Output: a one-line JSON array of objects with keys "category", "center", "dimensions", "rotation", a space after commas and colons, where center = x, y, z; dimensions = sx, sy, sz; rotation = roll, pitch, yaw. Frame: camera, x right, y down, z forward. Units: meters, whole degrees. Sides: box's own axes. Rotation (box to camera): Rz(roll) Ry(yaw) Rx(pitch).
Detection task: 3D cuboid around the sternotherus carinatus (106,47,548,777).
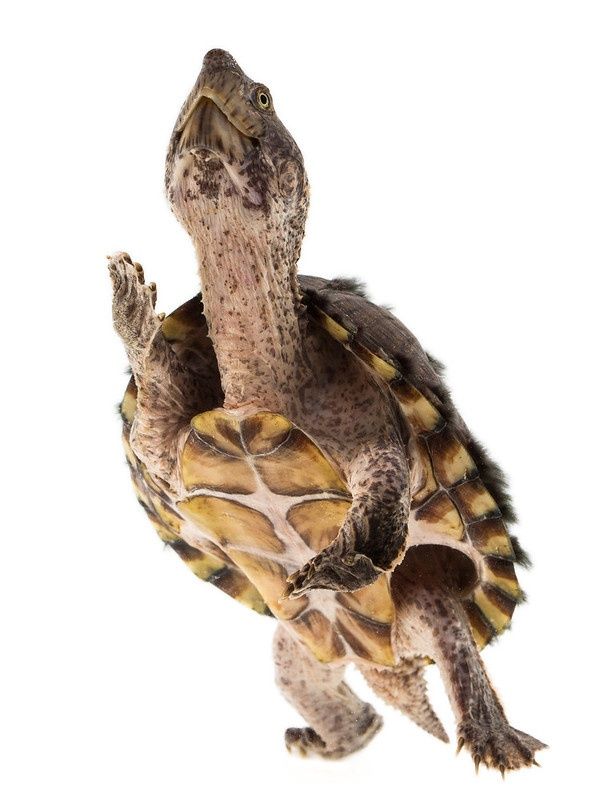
[{"category": "sternotherus carinatus", "center": [0.011, 0.105, 5.236], "dimensions": [1.895, 1.424, 3.223], "rotation": [-11, -61, 26]}]
